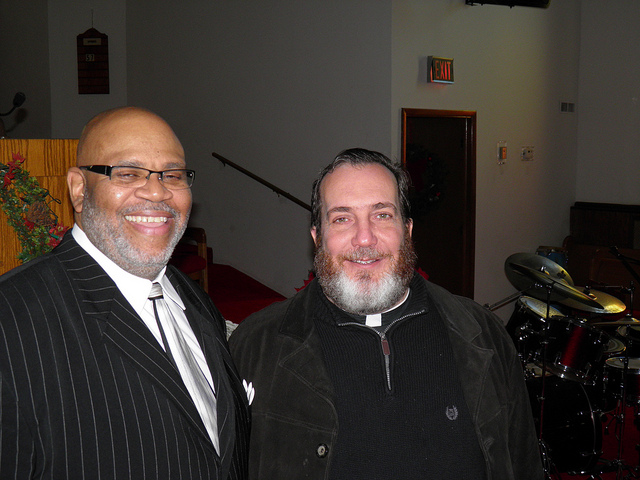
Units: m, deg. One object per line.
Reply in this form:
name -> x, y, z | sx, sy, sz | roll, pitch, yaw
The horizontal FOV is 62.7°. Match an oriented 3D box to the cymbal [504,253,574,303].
cymbal -> 2.055, 0.402, 4.959 | 0.649, 0.140, 0.666 | 23, -32, -13

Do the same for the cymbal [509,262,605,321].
cymbal -> 1.969, 0.376, 4.397 | 0.493, 0.259, 0.491 | 19, -7, 42

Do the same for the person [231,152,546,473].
person -> 0.258, 0.291, 2.044 | 1.196, 1.240, 0.579 | -1, 8, -12

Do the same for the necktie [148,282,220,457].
necktie -> -0.498, 0.396, 1.813 | 0.046, 0.691, 0.176 | -38, -32, 26

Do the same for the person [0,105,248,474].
person -> -0.632, 0.189, 1.726 | 0.785, 1.236, 0.610 | -5, 9, -36

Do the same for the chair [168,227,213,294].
chair -> -1.226, 0.166, 4.917 | 0.373, 0.694, 0.389 | 0, 2, -8
